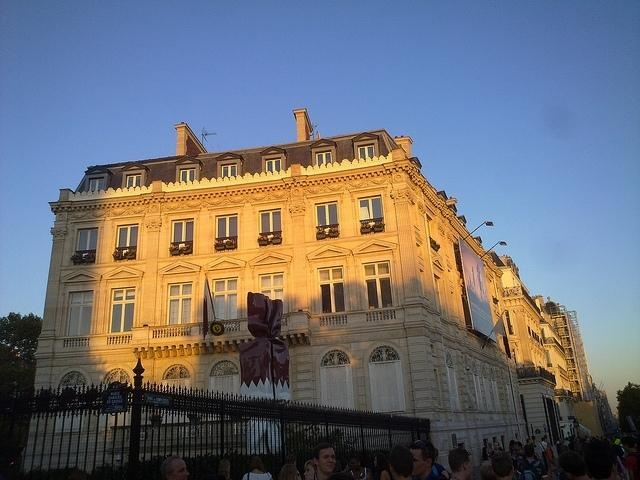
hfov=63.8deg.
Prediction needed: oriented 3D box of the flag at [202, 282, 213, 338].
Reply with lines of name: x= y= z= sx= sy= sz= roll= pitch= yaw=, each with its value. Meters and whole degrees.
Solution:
flag: x=-7.403 y=4.133 z=33.554 sx=0.054 sy=4.004 sz=0.883 roll=-6 pitch=22 yaw=-34
